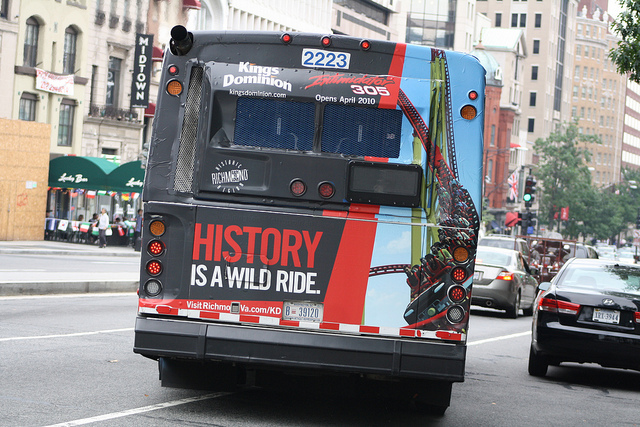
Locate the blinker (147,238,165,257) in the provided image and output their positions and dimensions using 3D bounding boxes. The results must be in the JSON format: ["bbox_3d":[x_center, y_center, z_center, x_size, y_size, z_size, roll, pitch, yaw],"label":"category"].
[{"bbox_3d":[-1.798,0.377,8.011,0.179,0.198,0.062,7,-4,-2],"label":"blinker"}]

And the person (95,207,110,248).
[{"bbox_3d":[-11.243,0.770,37.919,0.467,2.038,1.293,4,0,-17],"label":"person"}]

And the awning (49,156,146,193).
[{"bbox_3d":[-12.006,-2.132,39.427,5.564,1.889,1.263,5,0,25],"label":"awning"}]

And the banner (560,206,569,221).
[{"bbox_3d":[32.906,-0.050,97.922,0.837,1.926,3.148,4,0,22],"label":"banner"}]

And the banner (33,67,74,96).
[{"bbox_3d":[-15.402,-7.770,42.674,0.060,1.440,2.780,5,2,35],"label":"banner"}]

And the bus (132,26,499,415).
[{"bbox_3d":[-0.017,-0.075,11.305,3.715,4.182,7.035,4,2,1],"label":"bus"}]

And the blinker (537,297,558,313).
[{"bbox_3d":[3.661,1.478,11.699,0.204,0.119,0.292,5,14,8],"label":"blinker"}]

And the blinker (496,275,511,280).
[{"bbox_3d":[4.952,1.742,19.585,0.404,0.112,0.055,5,0,-13],"label":"blinker"}]

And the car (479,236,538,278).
[{"bbox_3d":[7.765,1.893,28.870,1.731,1.825,3.905,0,1,28],"label":"car"}]
